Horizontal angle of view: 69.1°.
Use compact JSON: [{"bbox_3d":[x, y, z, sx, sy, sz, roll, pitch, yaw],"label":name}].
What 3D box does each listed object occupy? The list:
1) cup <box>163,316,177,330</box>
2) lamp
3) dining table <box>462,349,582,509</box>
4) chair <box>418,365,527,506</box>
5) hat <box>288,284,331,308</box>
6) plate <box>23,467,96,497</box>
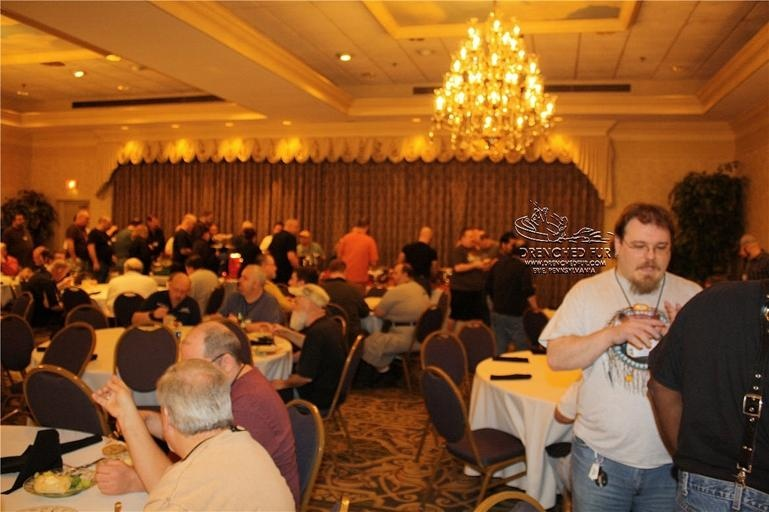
[{"bbox_3d":[-2.129,0.664,5.550,0.082,0.092,0.083,5,29,-3],"label":"cup"},{"bbox_3d":[1.485,-2.284,7.729,1.413,1.816,3.771,3,7,7],"label":"lamp"},{"bbox_3d":[1.110,1.202,4.344,1.156,0.697,1.117,1,-1,-2],"label":"dining table"},{"bbox_3d":[0.683,1.279,4.140,0.705,0.936,0.514,-2,8,-24],"label":"chair"},{"bbox_3d":[-0.695,0.319,5.004,0.370,0.133,0.226,22,1,11],"label":"hat"},{"bbox_3d":[-1.623,1.146,2.822,0.176,0.042,0.171,0,0,-25],"label":"plate"}]
